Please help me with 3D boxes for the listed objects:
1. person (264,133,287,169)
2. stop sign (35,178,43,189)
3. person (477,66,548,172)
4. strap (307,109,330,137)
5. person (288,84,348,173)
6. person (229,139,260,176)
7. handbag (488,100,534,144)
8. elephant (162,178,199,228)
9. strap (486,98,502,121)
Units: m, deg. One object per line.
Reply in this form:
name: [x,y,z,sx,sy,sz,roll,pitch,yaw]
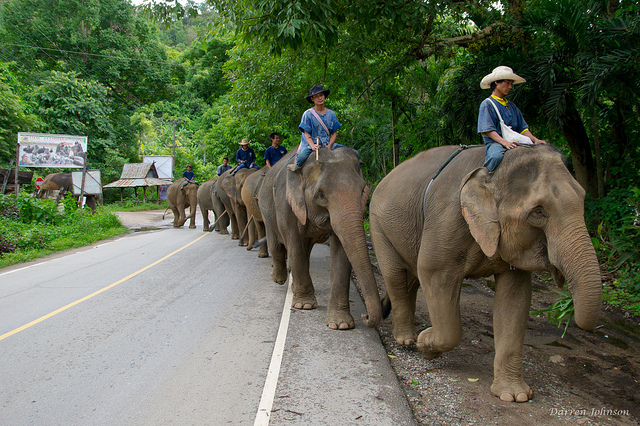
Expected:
person: [-1.148,-1.633,12.990,0.684,0.939,0.541,-19,36,-28]
stop sign: [-10.854,-1.149,19.386,0.245,0.374,1.030,-4,7,-29]
person: [2.605,-1.286,7.093,0.904,1.489,0.905,-3,7,-19]
strap: [-0.071,-1.579,8.871,0.071,0.593,0.088,-31,-11,-20]
person: [-0.053,-1.459,8.770,0.981,1.559,1.218,4,11,30]
person: [-2.381,-1.732,16.098,0.905,1.303,0.929,8,15,36]
handbag: [2.601,-1.252,6.854,0.375,0.635,0.671,-1,6,-12]
elephant: [-5.969,-0.441,21.812,1.036,2.113,3.186,-1,4,-35]
strap: [2.445,-1.458,7.077,0.077,0.332,0.252,-6,9,-42]
